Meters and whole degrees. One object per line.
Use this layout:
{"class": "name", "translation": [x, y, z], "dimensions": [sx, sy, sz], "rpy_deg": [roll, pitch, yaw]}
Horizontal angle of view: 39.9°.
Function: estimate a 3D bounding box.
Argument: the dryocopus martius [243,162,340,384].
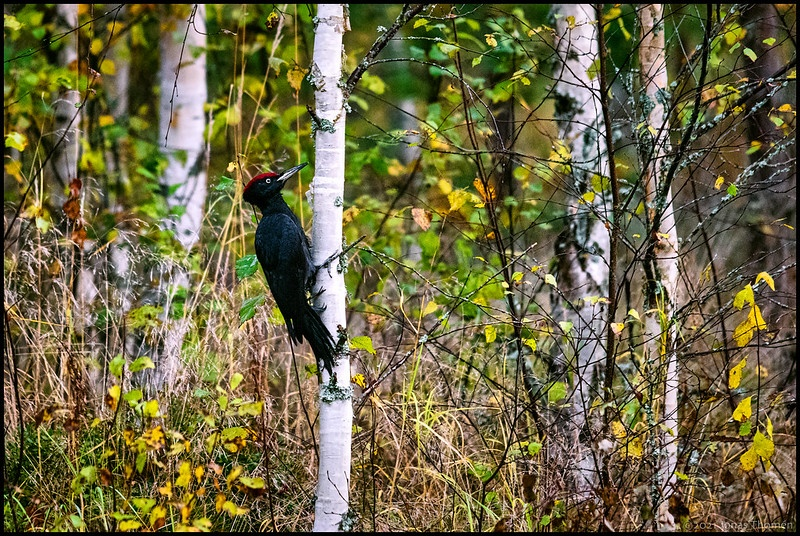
{"class": "dryocopus martius", "translation": [-0.934, 0.028, 9.199], "dimensions": [0.402, 1.764, 1.061], "rpy_deg": [6, -10, -36]}
